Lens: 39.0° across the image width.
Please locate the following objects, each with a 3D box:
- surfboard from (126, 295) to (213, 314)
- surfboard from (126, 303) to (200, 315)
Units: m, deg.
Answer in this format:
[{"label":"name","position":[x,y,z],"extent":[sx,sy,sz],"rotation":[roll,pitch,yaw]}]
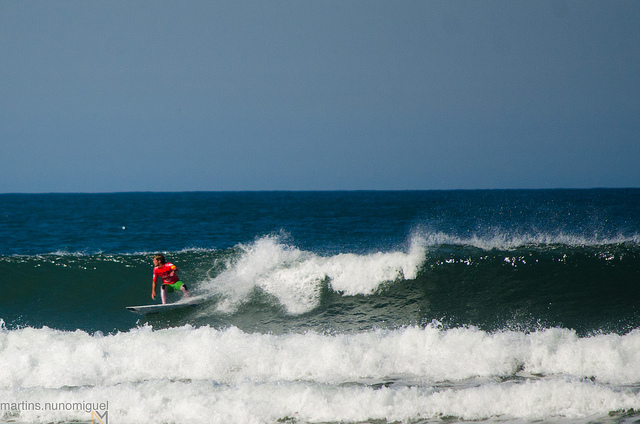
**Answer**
[{"label":"surfboard","position":[-5.308,3.392,32.508],"extent":[3.342,0.506,0.936],"rotation":[-6,-21,-15]},{"label":"surfboard","position":[-5.649,3.469,32.247],"extent":[2.522,0.709,0.277],"rotation":[0,20,-16]}]
